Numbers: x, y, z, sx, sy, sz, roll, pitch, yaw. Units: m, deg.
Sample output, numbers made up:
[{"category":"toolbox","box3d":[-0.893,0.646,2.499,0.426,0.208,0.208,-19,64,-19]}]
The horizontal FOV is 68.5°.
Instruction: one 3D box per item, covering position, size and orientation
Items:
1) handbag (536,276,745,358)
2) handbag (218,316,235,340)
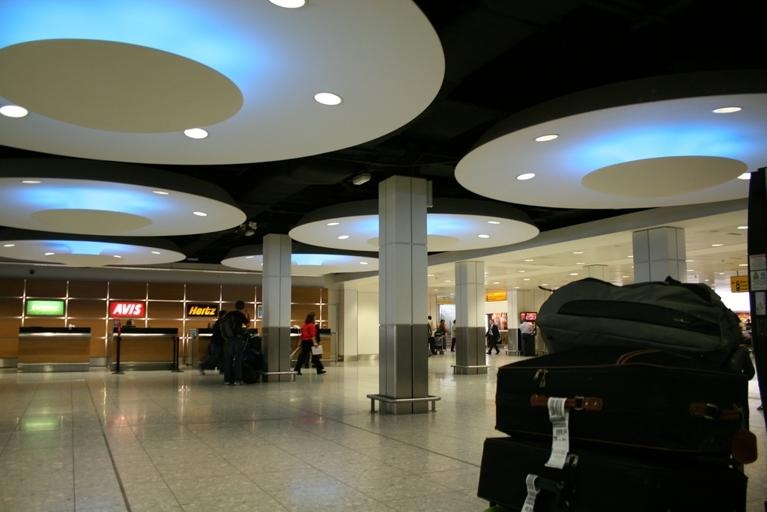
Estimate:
[{"category":"handbag","box3d":[1.745,0.414,3.889,0.898,0.334,0.719,-4,-10,28]},{"category":"handbag","box3d":[-4.601,2.102,16.621,0.378,0.702,0.255,-10,3,11]}]
